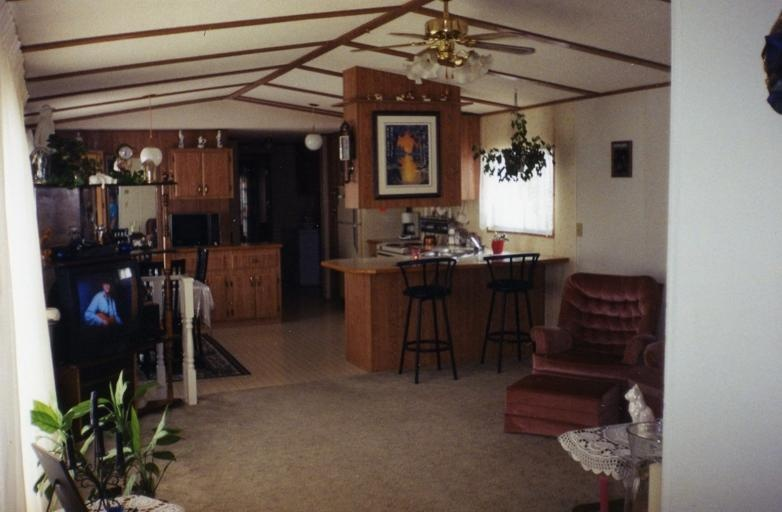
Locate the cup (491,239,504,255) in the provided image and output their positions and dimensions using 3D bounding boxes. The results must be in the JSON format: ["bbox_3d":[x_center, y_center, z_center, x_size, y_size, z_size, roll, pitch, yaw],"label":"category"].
[{"bbox_3d":[1.324,-0.108,7.691,0.161,0.190,0.165,-1,10,0],"label":"cup"}]

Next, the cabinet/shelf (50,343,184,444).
[{"bbox_3d":[-2.122,1.061,4.791,0.469,0.620,0.940,1,2,28],"label":"cabinet/shelf"}]

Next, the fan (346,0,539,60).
[{"bbox_3d":[0.516,-1.641,4.703,0.876,0.336,0.789,-2,3,-34],"label":"fan"}]

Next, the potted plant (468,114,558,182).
[{"bbox_3d":[1.515,-1.350,7.684,0.873,0.640,0.907,0,11,12],"label":"potted plant"}]

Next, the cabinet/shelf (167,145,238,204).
[{"bbox_3d":[-2.911,-1.246,9.696,0.874,0.805,0.335,-2,-8,-11],"label":"cabinet/shelf"}]

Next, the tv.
[{"bbox_3d":[-2.433,0.445,5.263,0.677,0.792,0.425,-8,11,-42],"label":"tv"}]

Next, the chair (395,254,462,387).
[{"bbox_3d":[0.427,0.644,6.826,0.711,1.303,0.746,-2,7,-7],"label":"chair"}]

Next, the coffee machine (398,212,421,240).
[{"bbox_3d":[0.293,-0.483,9.755,0.372,0.576,0.339,1,1,-12],"label":"coffee machine"}]

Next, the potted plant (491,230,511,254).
[{"bbox_3d":[1.332,-0.162,7.813,0.327,0.345,0.216,2,3,17],"label":"potted plant"}]

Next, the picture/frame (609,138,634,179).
[{"bbox_3d":[2.398,-1.015,6.487,0.328,0.364,0.015,-6,6,-30],"label":"picture/frame"}]

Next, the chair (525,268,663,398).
[{"bbox_3d":[1.955,0.832,5.886,1.198,1.320,1.218,-1,2,20],"label":"chair"}]

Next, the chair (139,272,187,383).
[{"bbox_3d":[-2.128,0.595,6.162,0.516,0.999,0.513,3,12,-3],"label":"chair"}]

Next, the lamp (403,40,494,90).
[{"bbox_3d":[0.503,-1.675,5.400,0.558,0.179,0.566,3,-14,-15],"label":"lamp"}]
